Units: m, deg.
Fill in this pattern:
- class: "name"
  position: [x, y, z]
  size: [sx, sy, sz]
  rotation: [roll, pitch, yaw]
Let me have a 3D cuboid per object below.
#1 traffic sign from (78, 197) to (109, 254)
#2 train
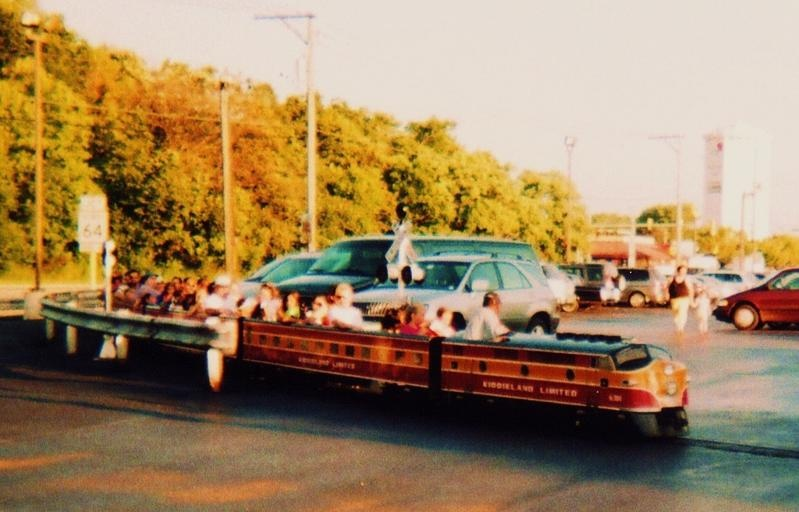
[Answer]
- class: "traffic sign"
  position: [-8.911, -0.871, 34.847]
  size: [0.760, 1.746, 1.769]
  rotation: [1, 2, -17]
- class: "train"
  position: [-1.311, 2.841, 29.462]
  size: [19.723, 3.104, 2.785]
  rotation: [2, 4, 38]
